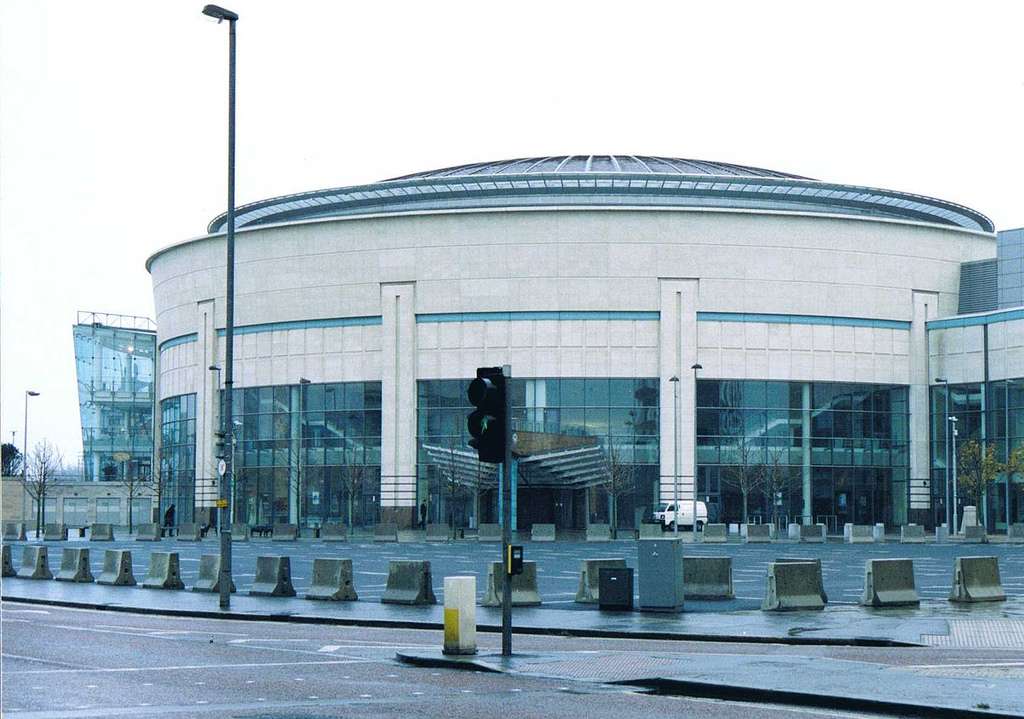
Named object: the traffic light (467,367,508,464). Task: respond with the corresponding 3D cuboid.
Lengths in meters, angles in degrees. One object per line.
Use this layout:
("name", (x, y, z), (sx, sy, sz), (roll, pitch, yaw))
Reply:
("traffic light", (-0.654, 1.529, 50.609), (1.100, 2.772, 0.733), (0, -9, -2))

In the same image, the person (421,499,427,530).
("person", (-5.388, 9.391, 109.461), (0.393, 1.521, 0.721), (1, -9, -11))

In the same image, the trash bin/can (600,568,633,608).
("trash bin/can", (3.496, 7.569, 58.818), (1.162, 1.464, 0.767), (-1, -9, 1))
